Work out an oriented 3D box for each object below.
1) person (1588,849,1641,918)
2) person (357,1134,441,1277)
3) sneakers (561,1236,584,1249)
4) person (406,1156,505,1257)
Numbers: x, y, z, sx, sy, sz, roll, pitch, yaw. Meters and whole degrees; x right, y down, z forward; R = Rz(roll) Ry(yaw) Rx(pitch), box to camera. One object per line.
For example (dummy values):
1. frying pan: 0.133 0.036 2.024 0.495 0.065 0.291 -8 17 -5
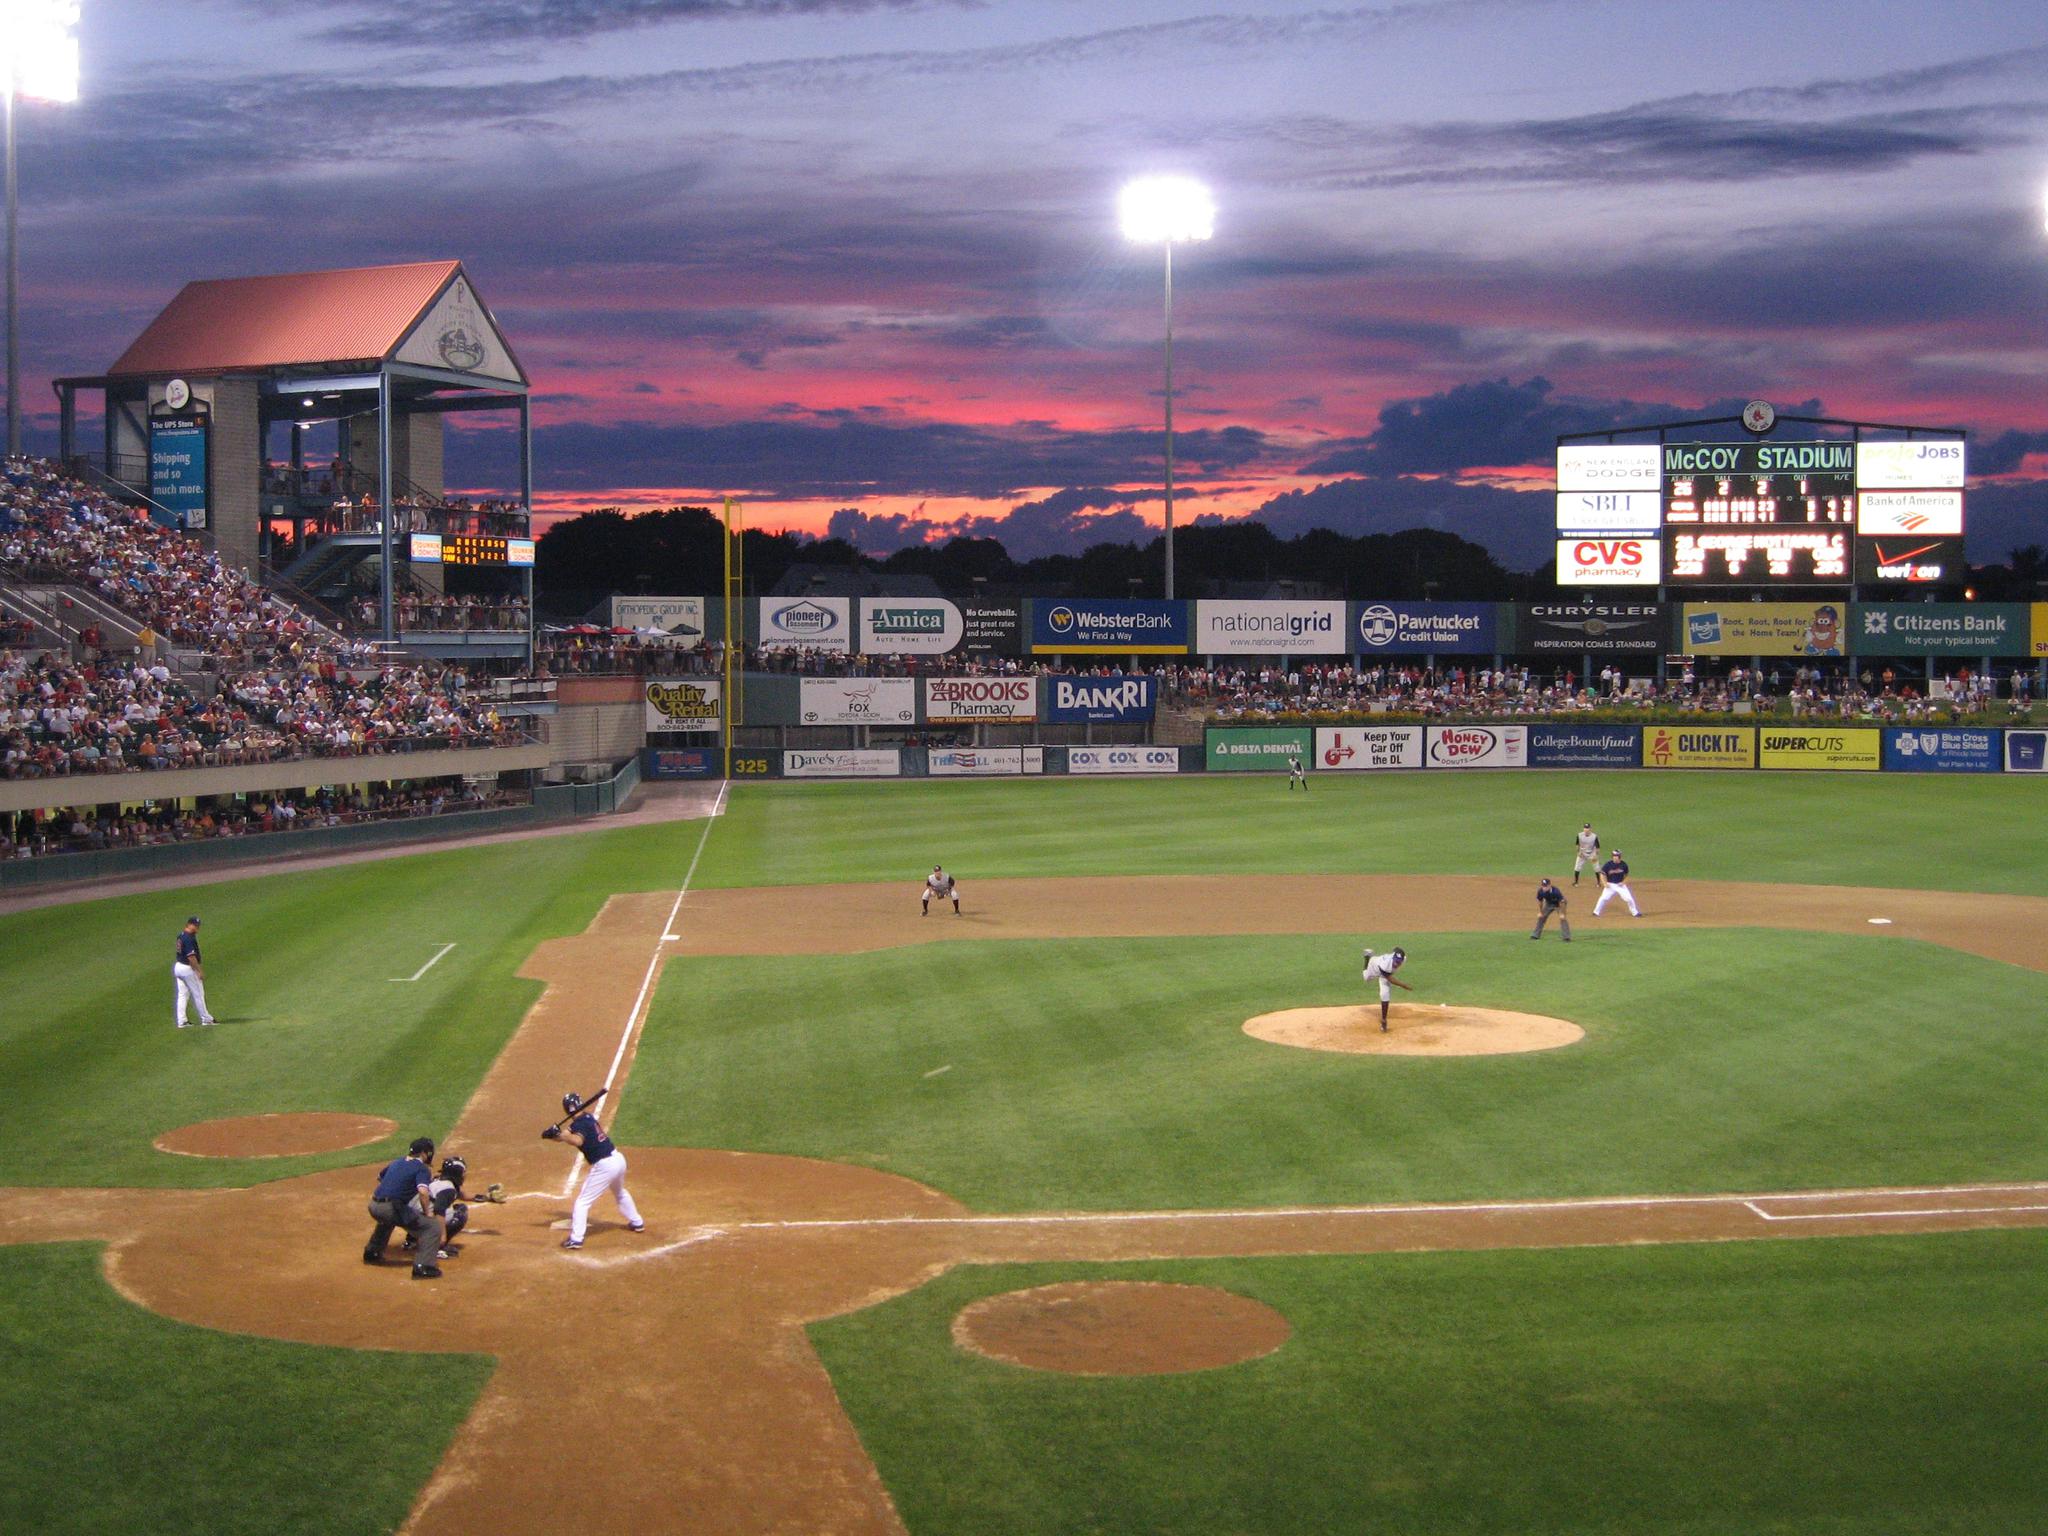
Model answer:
1. person: 12.071 2.392 49.261 1.329 1.728 0.906 -2 0 1
2. person: -7.155 4.952 27.588 0.809 1.521 1.608 -9 15 -31
3. sneakers: -5.256 5.488 28.161 0.233 0.160 0.312 -2 12 -9
4. person: -6.603 5.049 27.972 0.652 0.972 1.144 -6 -9 35
